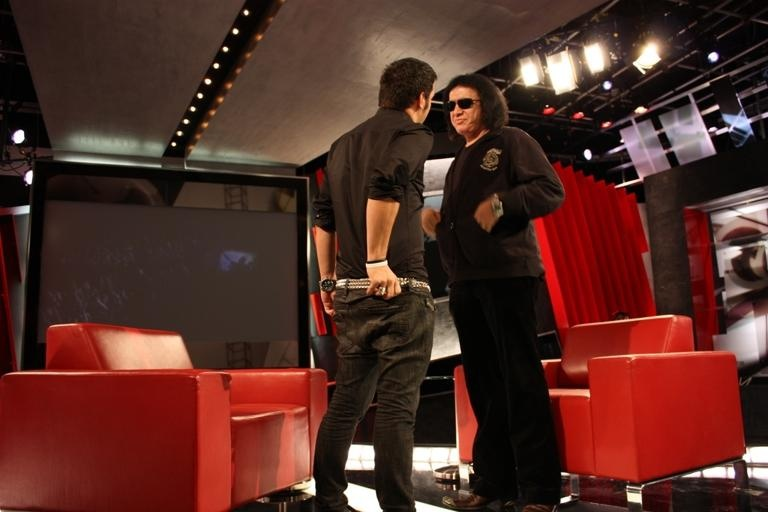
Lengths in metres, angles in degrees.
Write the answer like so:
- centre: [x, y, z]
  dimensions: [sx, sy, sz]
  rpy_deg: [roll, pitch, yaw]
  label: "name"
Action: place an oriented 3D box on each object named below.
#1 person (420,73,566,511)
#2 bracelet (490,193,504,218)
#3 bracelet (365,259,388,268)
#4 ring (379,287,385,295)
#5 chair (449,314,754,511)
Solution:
- centre: [0.662, 0.337, 3.486]
  dimensions: [0.464, 2.210, 0.803]
  rpy_deg: [5, -13, -37]
  label: "person"
- centre: [0.630, -0.270, 3.292]
  dimensions: [0.102, 0.107, 0.092]
  rpy_deg: [-3, -7, 2]
  label: "bracelet"
- centre: [-0.021, 0.045, 3.052]
  dimensions: [0.128, 0.043, 0.073]
  rpy_deg: [1, -12, -22]
  label: "bracelet"
- centre: [-0.008, 0.182, 3.015]
  dimensions: [0.028, 0.027, 0.037]
  rpy_deg: [-1, 0, -10]
  label: "ring"
- centre: [1.408, 0.941, 4.071]
  dimensions: [1.187, 1.258, 1.671]
  rpy_deg: [11, -20, -31]
  label: "chair"
